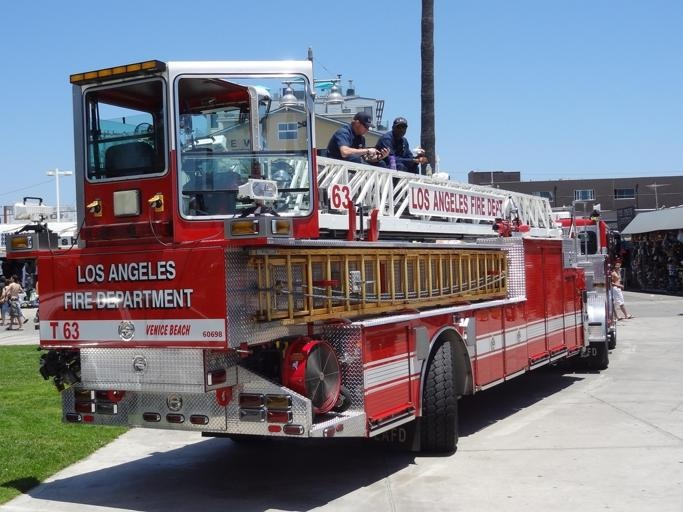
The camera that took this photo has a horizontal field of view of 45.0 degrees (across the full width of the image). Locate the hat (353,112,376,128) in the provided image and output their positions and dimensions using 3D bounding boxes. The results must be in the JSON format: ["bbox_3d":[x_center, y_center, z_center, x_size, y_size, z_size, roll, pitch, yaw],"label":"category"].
[{"bbox_3d":[0.303,-1.762,10.720,0.243,0.134,0.176,17,5,-37],"label":"hat"}]

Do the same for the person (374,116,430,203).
[{"bbox_3d":[0.866,-1.432,11.958,0.802,1.054,0.548,11,20,24],"label":"person"}]

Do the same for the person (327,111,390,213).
[{"bbox_3d":[0.221,-1.374,10.787,0.820,0.983,0.788,4,9,-9],"label":"person"}]

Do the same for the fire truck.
[{"bbox_3d":[0.857,0.128,12.318,3.841,4.165,10.400,-6,-3,33],"label":"fire truck"}]
